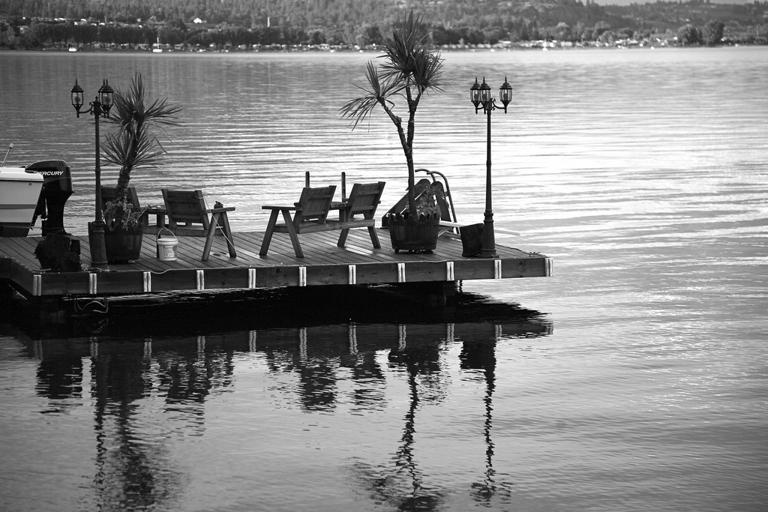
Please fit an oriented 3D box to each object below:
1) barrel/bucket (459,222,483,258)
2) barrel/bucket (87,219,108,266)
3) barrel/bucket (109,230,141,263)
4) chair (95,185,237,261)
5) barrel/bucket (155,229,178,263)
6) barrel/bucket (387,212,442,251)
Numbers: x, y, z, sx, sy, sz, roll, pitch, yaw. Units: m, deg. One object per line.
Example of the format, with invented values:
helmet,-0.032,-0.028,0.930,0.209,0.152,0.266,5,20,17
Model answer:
barrel/bucket,1.562,-0.267,23.689,0.523,0.470,0.577,0,2,2
barrel/bucket,-4.812,-0.210,22.666,0.274,0.726,0.503,-2,15,-11
barrel/bucket,-4.433,-0.169,23.067,0.605,0.498,0.568,0,4,0
chair,-3.867,-0.596,24.425,2.839,1.192,1.067,4,5,43
barrel/bucket,-3.741,-0.209,23.256,0.435,0.532,0.363,1,5,18
barrel/bucket,0.632,-0.442,24.385,1.068,0.576,0.989,1,-2,0
